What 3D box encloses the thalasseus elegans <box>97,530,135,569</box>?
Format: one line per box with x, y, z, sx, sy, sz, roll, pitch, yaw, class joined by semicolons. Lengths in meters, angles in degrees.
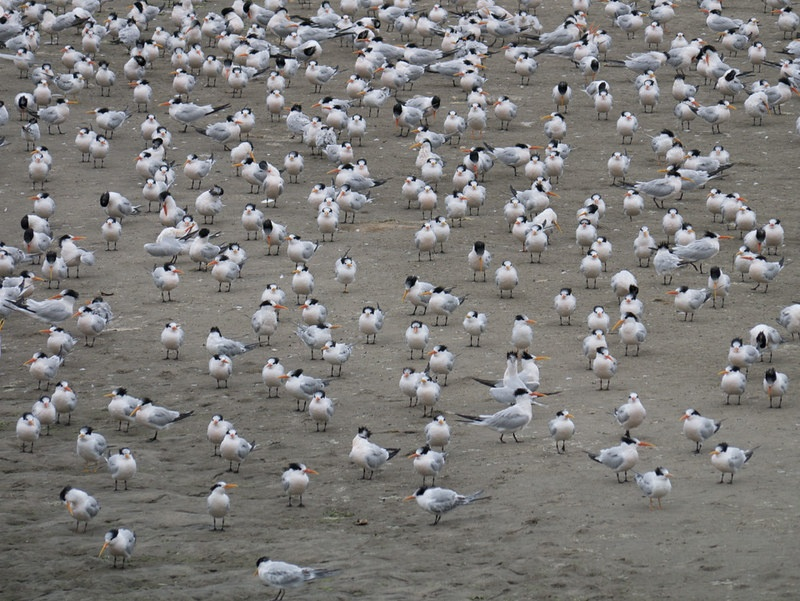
-5.269;4.685;27.372;0.552;1.060;0.644;-7;90;14;thalasseus elegans
